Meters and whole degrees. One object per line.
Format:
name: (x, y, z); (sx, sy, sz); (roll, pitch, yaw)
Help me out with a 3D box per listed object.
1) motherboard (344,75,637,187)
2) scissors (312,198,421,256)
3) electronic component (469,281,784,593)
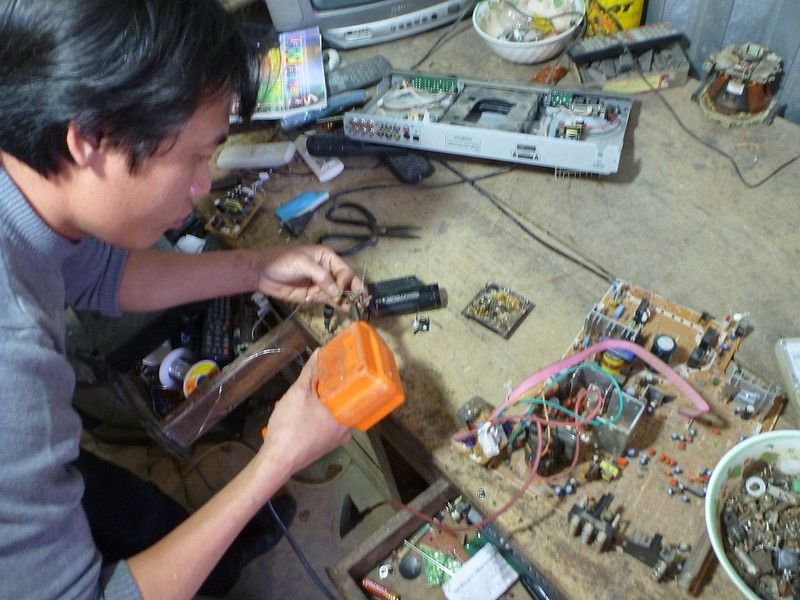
motherboard: (0.240, -0.518, 1.760); (0.800, 0.131, 0.255); (11, 56, 15)
scissors: (-0.105, -0.194, 1.662); (0.275, 0.145, 0.235); (-12, 44, -11)
electronic component: (0.520, 0.310, 1.294); (0.449, 0.154, 0.662); (31, 73, 13)
